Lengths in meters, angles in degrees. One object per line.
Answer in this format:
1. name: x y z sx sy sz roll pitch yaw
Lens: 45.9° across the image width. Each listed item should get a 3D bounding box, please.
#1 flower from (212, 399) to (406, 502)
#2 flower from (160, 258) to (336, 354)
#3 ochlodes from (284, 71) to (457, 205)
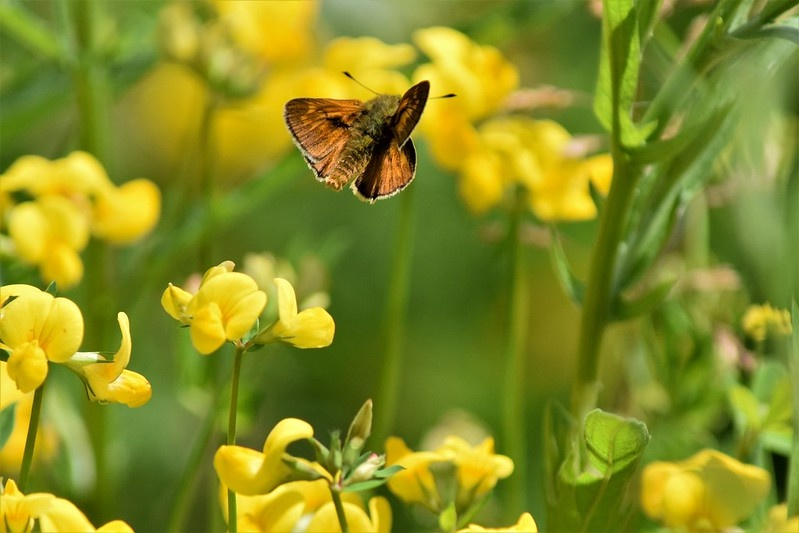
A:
1. flower: -0.066 0.146 0.684 0.137 0.079 0.060 -9 40 -1
2. flower: -0.114 0.036 0.702 0.123 0.057 0.124 7 8 5
3. ochlodes: -0.024 -0.116 0.801 0.145 0.104 0.128 -2 13 7
